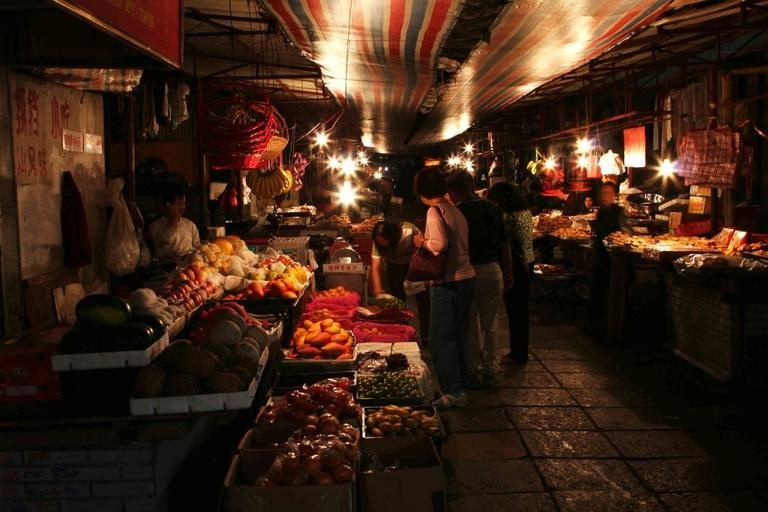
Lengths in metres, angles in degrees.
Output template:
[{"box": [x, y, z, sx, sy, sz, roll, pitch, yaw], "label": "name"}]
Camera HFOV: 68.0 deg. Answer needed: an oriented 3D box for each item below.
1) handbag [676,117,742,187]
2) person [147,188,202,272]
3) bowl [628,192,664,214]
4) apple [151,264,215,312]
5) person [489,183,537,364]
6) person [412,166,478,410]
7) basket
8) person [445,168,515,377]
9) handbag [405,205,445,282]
[{"box": [4.622, -1.444, 8.079, 0.530, 0.850, 0.683, -2, 9, 1], "label": "handbag"}, {"box": [-2.606, -0.342, 7.106, 0.671, 0.946, 0.496, -1, 6, -29], "label": "person"}, {"box": [5.359, -1.115, 11.626, 0.493, 0.210, 0.498, -5, 16, 1], "label": "bowl"}, {"box": [-1.644, 0.272, 4.782, 0.395, 0.127, 0.381, -25, 29, -24], "label": "apple"}, {"box": [1.721, 0.192, 7.360, 0.837, 2.146, 0.797, -3, 1, 4], "label": "person"}, {"box": [0.560, 0.291, 6.281, 1.018, 2.228, 0.944, -2, 6, -10], "label": "person"}, {"box": [-1.609, -1.385, 6.582, 0.910, 0.648, 0.993, -2, 1, -15], "label": "basket"}, {"box": [1.065, 0.163, 6.749, 1.028, 2.174, 0.920, -2, 6, -4], "label": "person"}, {"box": [0.432, -0.129, 5.835, 0.349, 0.763, 0.376, 5, 13, 16], "label": "handbag"}]
